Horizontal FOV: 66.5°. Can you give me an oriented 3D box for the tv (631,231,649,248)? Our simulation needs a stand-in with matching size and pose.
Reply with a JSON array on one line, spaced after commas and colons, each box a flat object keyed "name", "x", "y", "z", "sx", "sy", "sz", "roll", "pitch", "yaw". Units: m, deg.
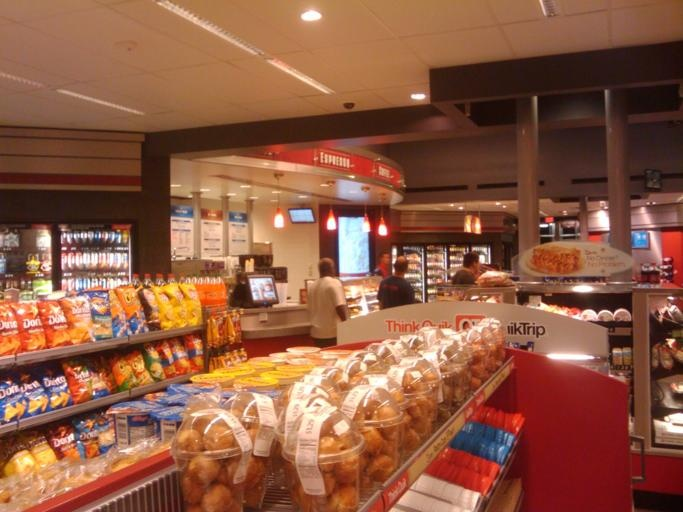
[{"name": "tv", "x": 11.052, "y": -0.629, "z": 19.316, "sx": 0.322, "sy": 0.464, "sz": 0.818, "roll": -5, "pitch": 2, "yaw": -6}]

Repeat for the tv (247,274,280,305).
[{"name": "tv", "x": -1.264, "y": 0.530, "z": 8.204, "sx": 0.261, "sy": 0.412, "sz": 0.458, "roll": -22, "pitch": -15, "yaw": 34}]
